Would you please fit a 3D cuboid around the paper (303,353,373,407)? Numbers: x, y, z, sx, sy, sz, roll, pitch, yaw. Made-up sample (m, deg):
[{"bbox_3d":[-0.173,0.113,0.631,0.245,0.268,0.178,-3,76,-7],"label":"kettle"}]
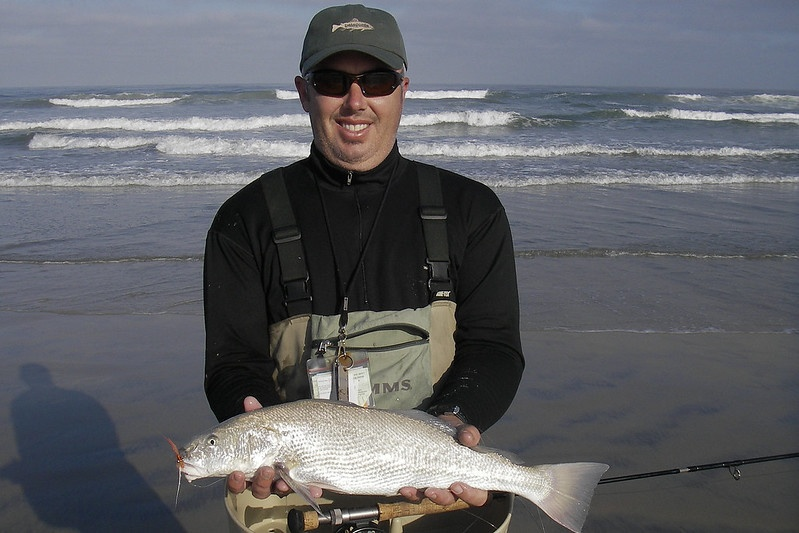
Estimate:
[{"bbox_3d":[-0.465,0.884,5.797,0.420,0.391,0.046,-10,1,1],"label":"paper"}]
